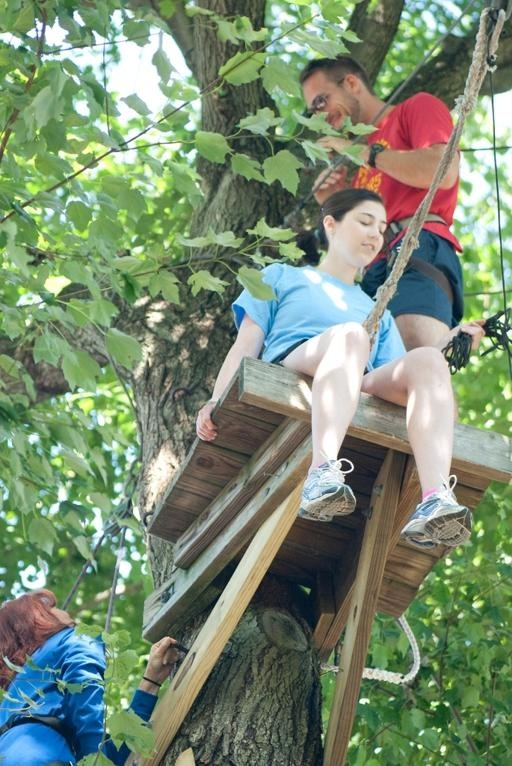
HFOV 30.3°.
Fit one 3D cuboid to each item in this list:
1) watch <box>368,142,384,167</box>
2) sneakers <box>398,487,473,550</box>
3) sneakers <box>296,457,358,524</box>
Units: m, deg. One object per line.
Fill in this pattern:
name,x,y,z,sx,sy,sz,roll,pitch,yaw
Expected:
watch,0.518,-0.982,4.061,0.043,0.086,0.077,18,4,28
sneakers,0.555,0.393,2.789,0.177,0.152,0.194,19,-23,10
sneakers,0.219,0.329,2.839,0.126,0.118,0.259,13,-24,-14
